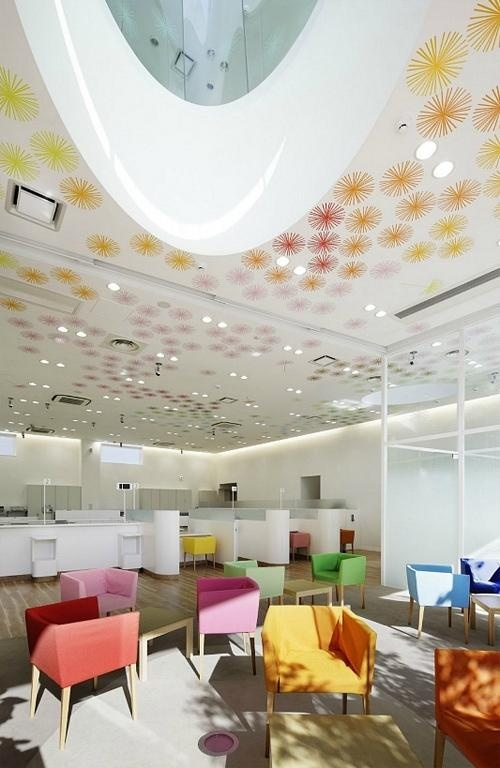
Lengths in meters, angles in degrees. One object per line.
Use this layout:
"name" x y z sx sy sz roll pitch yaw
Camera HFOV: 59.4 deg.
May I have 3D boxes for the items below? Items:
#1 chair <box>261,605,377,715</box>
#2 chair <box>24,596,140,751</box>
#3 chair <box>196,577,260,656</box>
"chair" 0.438 1.823 2.831 0.652 0.651 0.770 -2 -14 10
"chair" -1.216 1.910 3.129 0.748 0.662 1.399 6 -16 -21
"chair" -0.218 2.073 4.022 0.576 0.858 0.591 6 -23 -12
